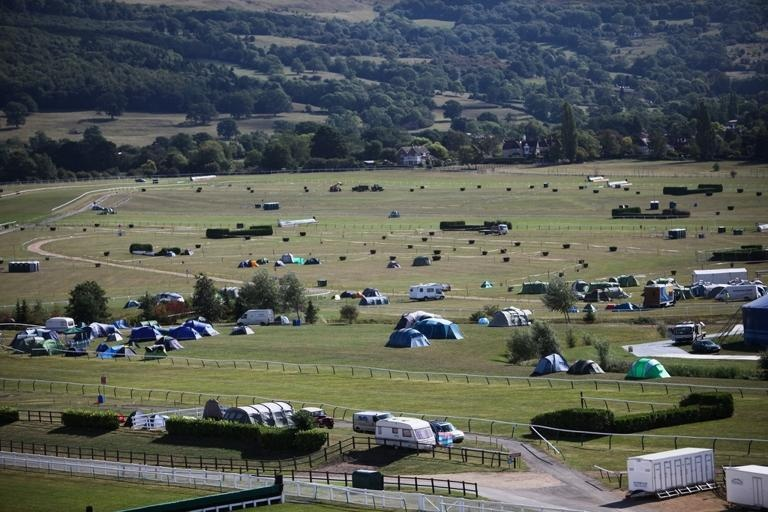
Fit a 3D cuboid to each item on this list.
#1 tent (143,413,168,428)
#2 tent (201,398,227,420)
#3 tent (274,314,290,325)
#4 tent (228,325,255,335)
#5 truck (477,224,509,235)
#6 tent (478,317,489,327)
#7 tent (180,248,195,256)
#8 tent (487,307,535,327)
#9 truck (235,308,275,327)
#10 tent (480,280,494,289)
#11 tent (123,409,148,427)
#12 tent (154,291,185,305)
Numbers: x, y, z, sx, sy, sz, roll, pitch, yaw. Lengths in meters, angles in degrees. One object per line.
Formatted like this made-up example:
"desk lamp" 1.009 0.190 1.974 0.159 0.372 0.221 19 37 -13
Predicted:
"tent" -70.764 50.670 540.543 5.278 2.926 4.850 0 5 9
"tent" -52.959 47.178 540.449 6.849 4.269 6.545 1 0 25
"tent" -33.757 21.155 576.011 3.728 2.178 3.635 1 3 32
"tent" -46.524 24.271 570.840 7.617 2.706 3.852 -2 3 -3
"truck" 39.682 -9.405 628.500 8.965 3.961 3.357 -1 3 11
"tent" 32.384 21.382 569.786 2.786 1.427 2.561 2 8 9
"tent" -69.412 -1.173 615.232 3.944 1.522 2.281 -5 15 -13
"tent" 41.436 20.249 568.386 9.643 3.349 7.319 -5 7 -33
"truck" -42.701 20.163 578.391 11.806 4.716 5.206 1 0 4
"tent" 34.423 9.707 589.724 4.575 2.150 2.821 -2 3 -7
"tent" -77.731 49.927 539.846 6.228 4.706 2.651 6 -3 -33
"tent" -72.168 14.428 583.500 7.418 2.923 4.122 3 1 11
